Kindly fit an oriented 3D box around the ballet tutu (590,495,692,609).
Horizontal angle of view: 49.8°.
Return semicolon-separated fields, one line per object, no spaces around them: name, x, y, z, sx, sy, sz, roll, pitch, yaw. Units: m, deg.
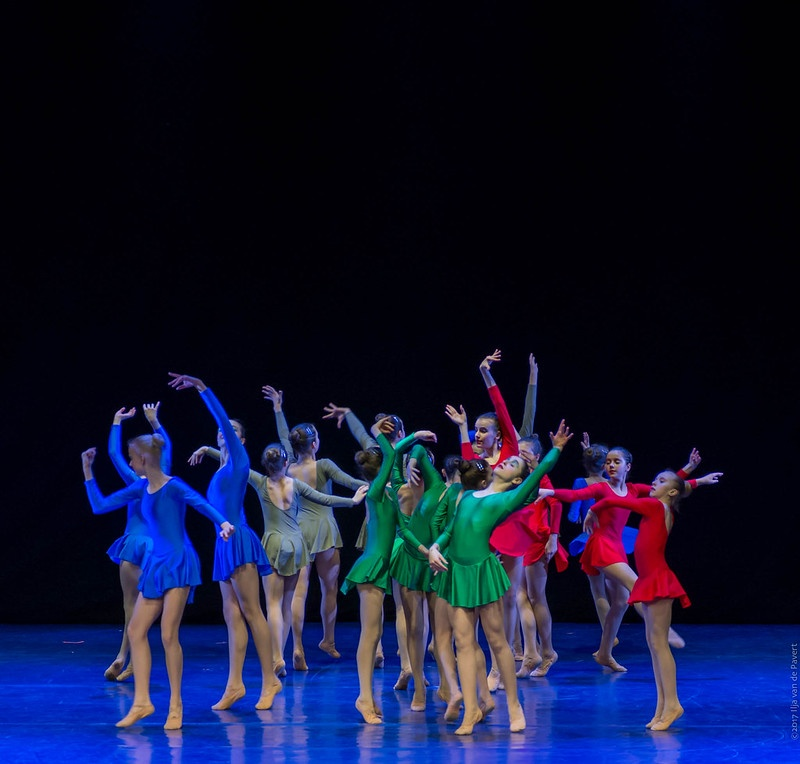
ballet tutu;1.052;0.717;3.747;0.334;0.490;0.257;-1;1;31

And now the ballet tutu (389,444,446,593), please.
ballet tutu;0.114;0.648;4.015;0.259;0.652;0.379;9;31;7

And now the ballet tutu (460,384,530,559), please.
ballet tutu;0.597;0.433;4.850;0.290;1.150;0.444;-9;9;-22

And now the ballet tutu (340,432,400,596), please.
ballet tutu;-0.122;0.588;3.926;0.215;0.692;0.230;-1;-7;8

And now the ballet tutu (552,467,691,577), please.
ballet tutu;1.205;0.858;4.956;0.765;0.520;0.267;8;4;-10

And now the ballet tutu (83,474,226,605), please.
ballet tutu;-1.053;0.676;3.796;0.280;0.503;0.812;5;-10;-38

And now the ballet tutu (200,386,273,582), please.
ballet tutu;-0.790;0.623;4.189;0.233;1.143;0.381;-6;-12;-7

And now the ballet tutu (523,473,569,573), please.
ballet tutu;0.806;0.825;4.942;0.306;0.740;0.332;-3;-8;22

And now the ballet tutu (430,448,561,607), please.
ballet tutu;0.372;0.603;3.580;0.566;0.652;0.216;-6;-9;38
